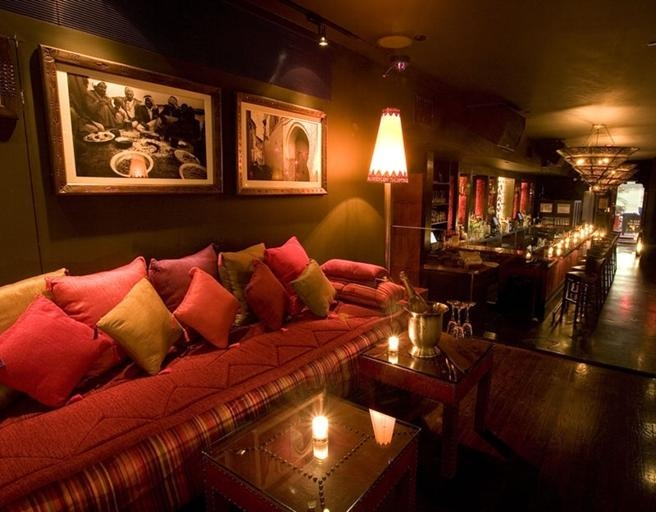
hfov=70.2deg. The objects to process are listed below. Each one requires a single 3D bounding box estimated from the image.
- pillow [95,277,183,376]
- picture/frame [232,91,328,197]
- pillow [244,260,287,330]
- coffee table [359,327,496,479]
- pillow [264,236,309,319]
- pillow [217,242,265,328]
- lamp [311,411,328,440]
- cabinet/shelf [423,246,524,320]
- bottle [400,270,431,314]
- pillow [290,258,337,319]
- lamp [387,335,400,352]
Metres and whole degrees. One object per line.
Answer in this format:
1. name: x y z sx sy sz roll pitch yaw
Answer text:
1. pillow: -1.123 0.447 2.842 0.149 0.474 0.506 -22 29 20
2. picture/frame: -0.454 -1.011 4.129 0.039 0.792 1.005 3 5 40
3. pillow: -0.457 0.303 3.470 0.133 0.430 0.442 -20 34 24
4. coffee table: 0.733 0.919 3.355 0.756 0.788 0.806 4 7 38
5. pillow: -0.338 0.197 3.752 0.177 0.432 0.533 -6 18 17
6. pillow: -0.653 0.241 3.484 0.183 0.392 0.554 5 11 15
7. lamp: -0.042 0.945 2.571 0.084 0.147 0.096 -4 -27 5
8. cabinet/shelf: 1.834 0.315 6.145 0.847 0.831 1.333 12 14 40
9. bottle: 0.806 0.322 4.254 0.181 0.434 0.179 -30 -4 -3
10. pillow: -0.097 0.277 3.758 0.143 0.369 0.507 -24 9 17
11. lamp: 0.454 0.624 3.326 0.076 0.117 0.076 6 11 37
